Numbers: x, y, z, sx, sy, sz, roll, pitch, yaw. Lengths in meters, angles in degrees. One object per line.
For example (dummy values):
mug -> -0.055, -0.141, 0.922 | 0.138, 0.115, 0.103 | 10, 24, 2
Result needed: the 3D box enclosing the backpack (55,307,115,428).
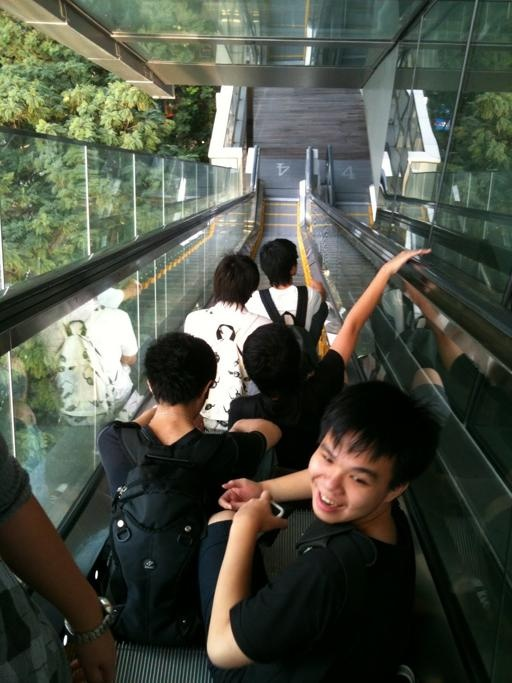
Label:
backpack -> -0.674, 0.140, 1.784 | 0.132, 0.330, 0.204 | 3, 14, 44
